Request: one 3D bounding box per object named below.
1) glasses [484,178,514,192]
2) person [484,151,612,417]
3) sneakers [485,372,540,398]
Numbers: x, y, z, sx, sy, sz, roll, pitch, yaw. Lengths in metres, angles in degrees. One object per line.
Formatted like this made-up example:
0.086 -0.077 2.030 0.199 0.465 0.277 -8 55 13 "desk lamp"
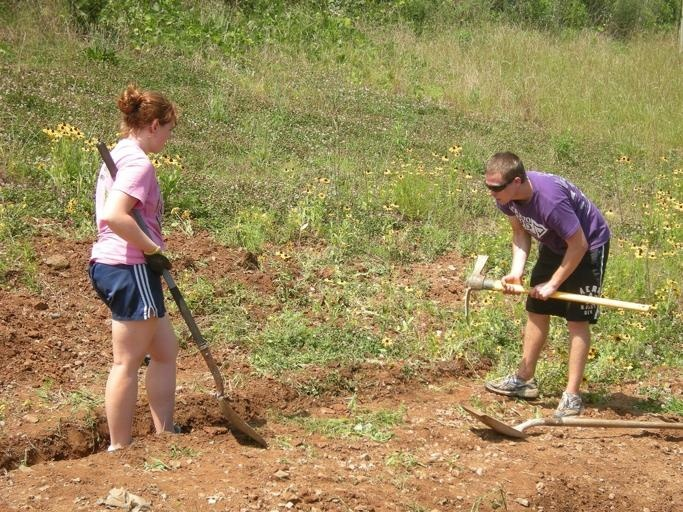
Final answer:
1.604 -0.719 11.700 0.279 0.150 0.095 13 23 28 "glasses"
2.107 0.269 12.004 1.234 2.655 0.921 7 22 12 "person"
1.875 1.406 12.471 0.575 0.220 0.231 5 -5 8 "sneakers"
